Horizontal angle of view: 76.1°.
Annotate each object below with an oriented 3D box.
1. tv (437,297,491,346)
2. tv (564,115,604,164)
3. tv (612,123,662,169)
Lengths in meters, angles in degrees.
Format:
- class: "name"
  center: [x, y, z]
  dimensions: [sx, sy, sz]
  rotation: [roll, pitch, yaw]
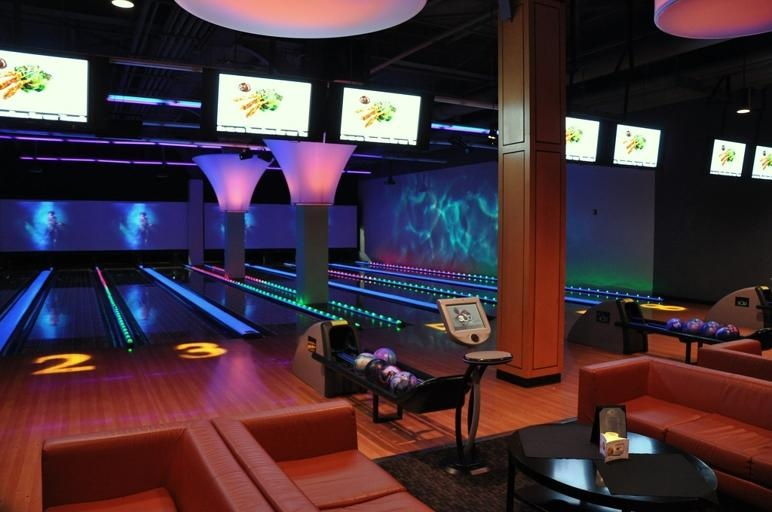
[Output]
- class: "tv"
  center: [0.621, 0.520, 3.893]
  dimensions: [0.412, 0.339, 0.334]
  rotation: [-3, 9, -22]
- class: "tv"
  center: [2.983, -1.751, 7.456]
  dimensions: [0.596, 0.644, 0.126]
  rotation: [-4, 10, -28]
- class: "tv"
  center: [4.023, -1.751, 7.860]
  dimensions: [1.076, 0.624, 0.198]
  rotation: [-5, 10, -35]
